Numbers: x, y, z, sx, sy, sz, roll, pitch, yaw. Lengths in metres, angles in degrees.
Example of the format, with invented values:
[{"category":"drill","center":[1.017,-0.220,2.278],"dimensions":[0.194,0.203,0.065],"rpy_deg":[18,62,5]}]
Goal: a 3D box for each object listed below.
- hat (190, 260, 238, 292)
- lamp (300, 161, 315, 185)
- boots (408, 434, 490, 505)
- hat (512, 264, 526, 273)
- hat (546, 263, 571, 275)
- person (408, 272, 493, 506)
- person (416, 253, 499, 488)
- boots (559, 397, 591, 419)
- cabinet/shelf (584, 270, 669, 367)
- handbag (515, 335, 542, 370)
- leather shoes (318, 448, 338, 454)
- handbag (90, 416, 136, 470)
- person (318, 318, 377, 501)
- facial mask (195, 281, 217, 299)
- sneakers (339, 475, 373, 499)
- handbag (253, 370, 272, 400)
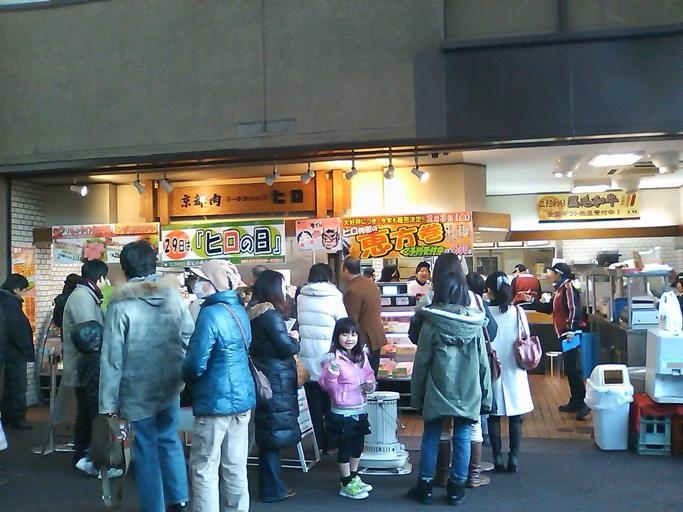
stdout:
[{"category":"hat","center":[-1.121,0.170,7.170],"dimensions":[0.356,0.194,0.245],"rpy_deg":[26,1,-2]},{"category":"lamp","center":[-0.445,-1.115,10.607],"dimensions":[0.158,0.288,0.119],"rpy_deg":[-20,-47,15]},{"category":"boots","center":[1.091,1.997,7.823],"dimensions":[0.611,0.606,0.565],"rpy_deg":[0,2,-2]},{"category":"hat","center":[3.038,0.173,13.846],"dimensions":[0.178,0.188,0.163],"rpy_deg":[2,-3,37]},{"category":"hat","center":[2.822,0.144,10.350],"dimensions":[0.209,0.126,0.150],"rpy_deg":[26,8,18]},{"category":"person","center":[1.016,1.207,7.527],"dimensions":[0.755,2.091,0.412],"rpy_deg":[0,8,11]},{"category":"person","center":[1.002,1.142,8.212],"dimensions":[0.944,2.483,0.763],"rpy_deg":[-7,17,-29]},{"category":"boots","center":[2.887,1.849,9.907],"dimensions":[0.159,0.332,0.459],"rpy_deg":[-5,5,-22]},{"category":"cabinet/shelf","center":[3.665,0.800,10.293],"dimensions":[0.407,1.241,1.311],"rpy_deg":[1,-3,7]},{"category":"handbag","center":[1.886,0.958,8.118],"dimensions":[0.279,0.344,0.175],"rpy_deg":[-2,8,-7]},{"category":"leather shoes","center":[-0.140,2.062,8.715],"dimensions":[0.198,0.088,0.073],"rpy_deg":[5,-11,-4]},{"category":"handbag","center":[-1.945,1.533,6.822],"dimensions":[0.342,0.421,0.198],"rpy_deg":[0,8,7]},{"category":"person","center":[0.068,1.409,7.700],"dimensions":[0.531,1.670,0.446],"rpy_deg":[-2,8,-5]},{"category":"facial mask","center":[-1.210,0.282,7.199],"dimensions":[0.168,0.136,0.153],"rpy_deg":[4,-4,-19]},{"category":"sneakers","center":[0.121,2.167,7.684],"dimensions":[0.242,0.126,0.177],"rpy_deg":[-1,-1,19]},{"category":"handbag","center":[-0.718,1.157,7.294],"dimensions":[0.118,0.267,0.252],"rpy_deg":[-21,-6,-3]}]
